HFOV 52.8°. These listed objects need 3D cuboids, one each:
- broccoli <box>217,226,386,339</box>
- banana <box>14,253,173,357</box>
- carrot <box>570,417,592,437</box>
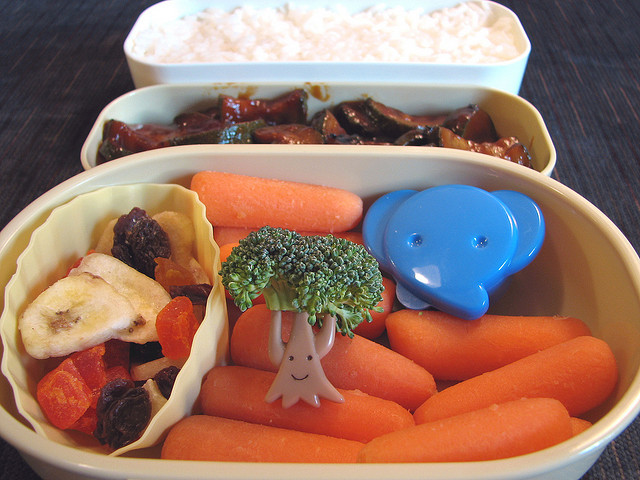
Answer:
[{"bbox_3d":[-0.060,0.101,1.460,0.380,0.322,0.222,11,101,35],"label":"broccoli"},{"bbox_3d":[-0.506,0.138,1.480,0.317,0.120,0.225,-8,74,-2],"label":"banana"},{"bbox_3d":[0.555,0.397,1.375,0.034,0.012,0.038,5,32,15],"label":"carrot"}]
